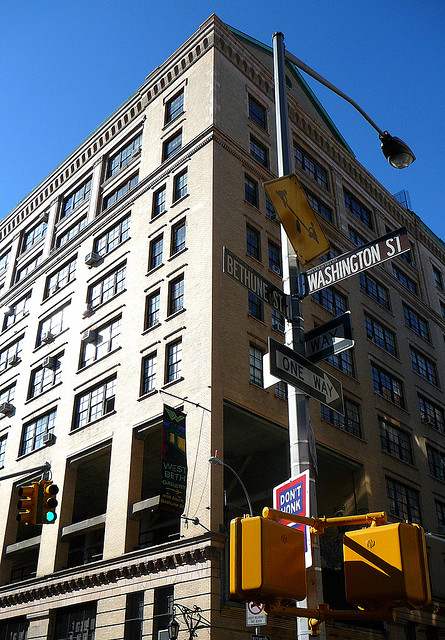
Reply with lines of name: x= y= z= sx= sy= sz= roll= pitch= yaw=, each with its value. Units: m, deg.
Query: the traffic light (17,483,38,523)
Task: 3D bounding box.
traffic light: x=-5.163 y=4.823 z=15.122 sx=0.534 sy=1.075 sz=0.550 roll=11 pitch=-32 yaw=-17

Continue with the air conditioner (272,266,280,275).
air conditioner: x=3.076 y=-2.907 z=33.523 sx=0.254 sy=0.444 sz=0.502 roll=-20 pitch=-27 yaw=36

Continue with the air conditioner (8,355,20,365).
air conditioner: x=-16.269 y=3.035 z=44.294 sx=0.414 sy=0.702 sz=1.468 roll=24 pitch=-38 yaw=-34

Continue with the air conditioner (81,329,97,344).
air conditioner: x=-8.569 y=1.010 z=36.432 sx=0.582 sy=0.841 sz=1.192 roll=24 pitch=-38 yaw=-34

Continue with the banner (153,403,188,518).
banner: x=-2.108 y=5.938 z=24.353 sx=0.386 sy=4.602 sz=1.391 roll=-22 pitch=-38 yaw=34

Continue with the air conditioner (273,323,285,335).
air conditioner: x=2.925 y=0.473 z=30.185 sx=0.276 sy=0.496 sz=0.519 roll=-35 pitch=-53 yaw=28

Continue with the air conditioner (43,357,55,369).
air conditioner: x=-11.967 y=2.956 z=39.216 sx=0.516 sy=0.700 sz=1.086 roll=23 pitch=-37 yaw=-32

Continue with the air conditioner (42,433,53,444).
air conditioner: x=-10.918 y=7.373 z=35.444 sx=0.245 sy=0.629 sz=0.687 roll=27 pitch=-36 yaw=-34

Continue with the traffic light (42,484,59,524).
traffic light: x=-4.577 y=4.755 z=15.042 sx=0.444 sy=1.079 sz=1.042 roll=9 pitch=-32 yaw=-14

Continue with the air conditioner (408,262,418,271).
air conditioner: x=17.167 y=-4.852 z=51.719 sx=0.362 sy=0.202 sz=1.513 roll=31 pitch=4 yaw=36

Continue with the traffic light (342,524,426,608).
traffic light: x=1.043 y=1.653 z=3.808 sx=0.462 sy=0.541 sz=0.287 roll=-19 pitch=-46 yaw=22
